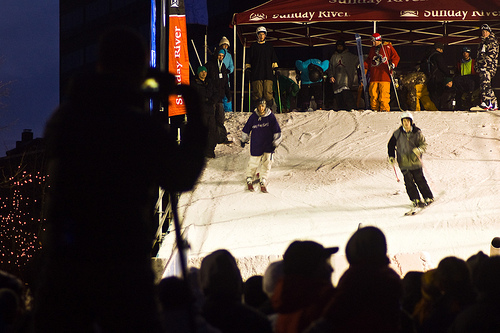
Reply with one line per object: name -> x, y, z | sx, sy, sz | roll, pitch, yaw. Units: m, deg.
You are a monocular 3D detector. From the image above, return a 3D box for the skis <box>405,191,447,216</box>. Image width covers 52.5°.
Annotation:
skis -> 3.271, 0.702, 9.504 | 0.111, 0.076, 0.832 | 36, 43, 24

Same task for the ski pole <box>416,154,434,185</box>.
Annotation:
ski pole -> 3.535, 0.083, 10.295 | 0.033, 0.839, 0.028 | -46, 24, -19

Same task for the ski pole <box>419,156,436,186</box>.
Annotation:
ski pole -> 3.638, 0.119, 10.452 | 0.061, 0.674, 0.054 | -26, 10, 32

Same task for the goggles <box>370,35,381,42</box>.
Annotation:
goggles -> 3.369, -3.464, 13.722 | 0.141, 0.154, 0.343 | -3, -2, -11

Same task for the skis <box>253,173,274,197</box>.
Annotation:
skis -> 0.275, 0.385, 10.977 | 0.200, 0.282, 0.665 | -24, 23, -14

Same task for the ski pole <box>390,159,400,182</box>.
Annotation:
ski pole -> 3.032, 0.091, 10.639 | 0.090, 0.508, 0.073 | -7, -19, -41
